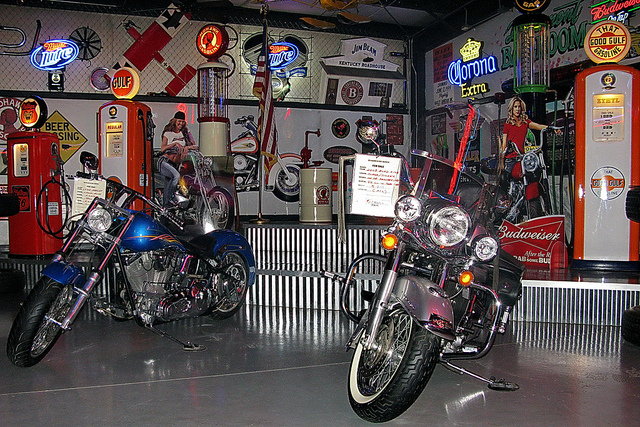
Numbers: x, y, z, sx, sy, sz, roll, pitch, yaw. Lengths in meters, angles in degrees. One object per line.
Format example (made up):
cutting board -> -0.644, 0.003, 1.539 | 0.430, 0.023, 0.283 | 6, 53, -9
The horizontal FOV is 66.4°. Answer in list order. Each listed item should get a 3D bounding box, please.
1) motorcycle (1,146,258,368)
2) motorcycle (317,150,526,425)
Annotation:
motorcycle -> -1.575, 0.443, 4.845 | 1.346, 1.642, 2.559 | 7, 0, 38
motorcycle -> 0.846, 0.425, 3.563 | 1.570, 1.741, 0.954 | -6, 12, -33
